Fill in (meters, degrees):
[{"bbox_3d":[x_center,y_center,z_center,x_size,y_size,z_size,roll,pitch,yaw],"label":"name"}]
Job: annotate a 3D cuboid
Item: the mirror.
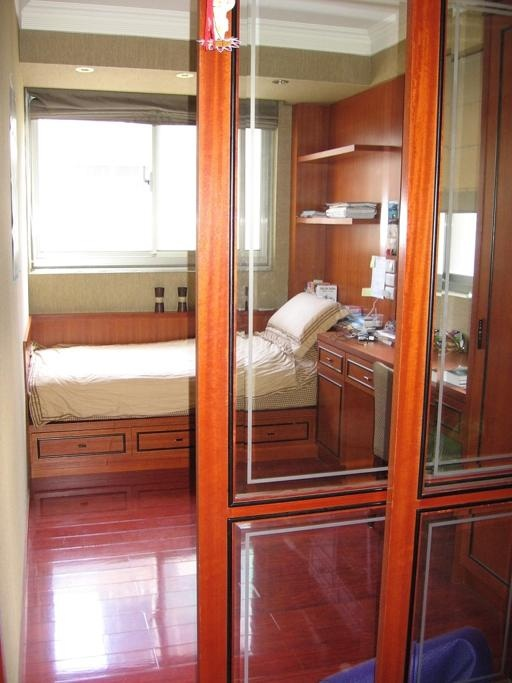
[{"bbox_3d":[0.437,-0.153,1.245,0.112,0.347,0.022,-3,7,-32],"label":"mirror"}]
